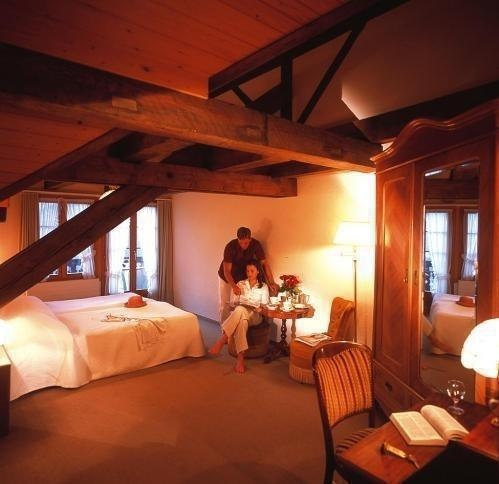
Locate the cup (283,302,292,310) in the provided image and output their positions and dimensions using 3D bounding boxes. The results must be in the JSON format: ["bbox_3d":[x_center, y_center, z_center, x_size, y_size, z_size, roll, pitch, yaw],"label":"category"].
[{"bbox_3d":[0.399,0.695,4.640,0.079,0.071,0.064,2,-3,-39],"label":"cup"}]

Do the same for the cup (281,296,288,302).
[{"bbox_3d":[0.391,0.659,4.980,0.053,0.064,0.053,1,0,0],"label":"cup"}]

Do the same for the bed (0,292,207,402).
[{"bbox_3d":[-1.891,0.908,4.957,2.141,0.808,2.042,-6,9,-44],"label":"bed"}]

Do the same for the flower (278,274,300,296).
[{"bbox_3d":[0.462,0.488,4.954,0.190,0.226,0.191,8,2,-42],"label":"flower"}]

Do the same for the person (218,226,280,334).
[{"bbox_3d":[-0.026,0.653,5.662,0.533,1.822,0.912,-8,14,-13],"label":"person"}]

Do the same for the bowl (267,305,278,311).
[{"bbox_3d":[0.241,0.719,4.714,0.113,0.034,0.177,1,6,3],"label":"bowl"}]

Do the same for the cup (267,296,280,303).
[{"bbox_3d":[0.257,0.661,4.880,0.076,0.069,0.081,-1,-4,0],"label":"cup"}]

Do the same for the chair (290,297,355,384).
[{"bbox_3d":[0.707,0.976,4.419,0.571,0.793,0.507,3,7,-9],"label":"chair"}]
